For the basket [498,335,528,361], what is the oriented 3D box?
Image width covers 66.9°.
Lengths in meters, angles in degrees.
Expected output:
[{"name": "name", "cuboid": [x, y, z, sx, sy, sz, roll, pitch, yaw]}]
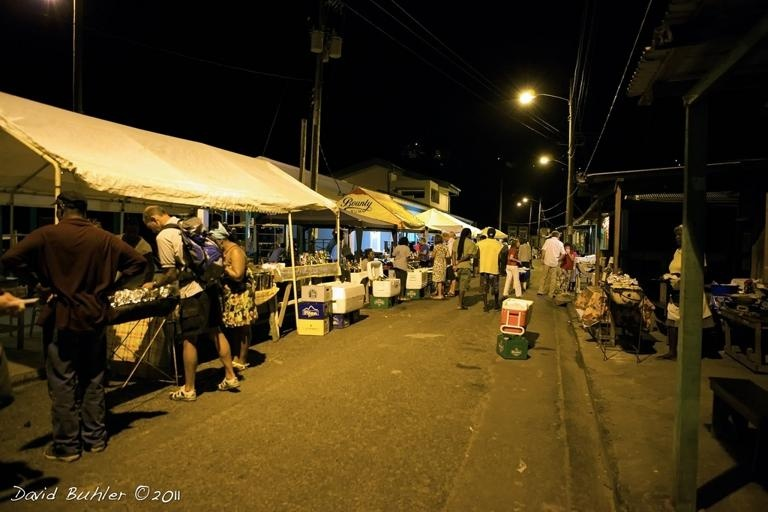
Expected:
[{"name": "basket", "cuboid": [2.373, 1.667, 10.897, 0.583, 0.423, 0.447, 4, 13, 14]}]

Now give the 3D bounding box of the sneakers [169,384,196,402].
[{"name": "sneakers", "cuboid": [-2.985, 2.022, 8.630, 0.395, 0.193, 0.202, 3, -4, 6]}]

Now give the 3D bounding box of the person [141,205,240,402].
[{"name": "person", "cuboid": [-2.873, 0.736, 8.629, 1.246, 2.819, 0.775, 2, 12, 8]}]

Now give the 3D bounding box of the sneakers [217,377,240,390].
[{"name": "sneakers", "cuboid": [-2.400, 1.971, 9.023, 0.361, 0.177, 0.154, -5, 1, 27]}]

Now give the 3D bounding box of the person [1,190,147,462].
[{"name": "person", "cuboid": [-3.865, 0.839, 7.313, 0.926, 3.142, 1.125, 6, 13, 23]}]

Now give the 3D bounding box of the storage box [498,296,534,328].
[{"name": "storage box", "cuboid": [2.492, 1.065, 11.088, 0.461, 0.464, 0.744, 1, -4, 23]}]

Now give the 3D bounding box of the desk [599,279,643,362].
[{"name": "desk", "cuboid": [4.657, 1.302, 11.496, 0.468, 1.169, 1.354, 1, 3, 7]}]

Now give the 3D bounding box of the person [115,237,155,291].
[{"name": "person", "cuboid": [-3.540, 0.140, 8.261, 0.635, 0.723, 0.398, -10, 8, -4]}]

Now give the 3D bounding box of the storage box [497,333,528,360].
[{"name": "storage box", "cuboid": [2.369, 1.663, 10.892, 0.461, 0.380, 0.486, 0, -6, 21]}]

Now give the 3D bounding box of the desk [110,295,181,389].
[{"name": "desk", "cuboid": [-3.684, 1.300, 8.981, 0.820, 0.989, 1.361, 2, 5, -13]}]

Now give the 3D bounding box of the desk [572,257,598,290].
[{"name": "desk", "cuboid": [6.812, 0.627, 19.991, 0.415, 1.110, 1.186, -2, 17, 6]}]
